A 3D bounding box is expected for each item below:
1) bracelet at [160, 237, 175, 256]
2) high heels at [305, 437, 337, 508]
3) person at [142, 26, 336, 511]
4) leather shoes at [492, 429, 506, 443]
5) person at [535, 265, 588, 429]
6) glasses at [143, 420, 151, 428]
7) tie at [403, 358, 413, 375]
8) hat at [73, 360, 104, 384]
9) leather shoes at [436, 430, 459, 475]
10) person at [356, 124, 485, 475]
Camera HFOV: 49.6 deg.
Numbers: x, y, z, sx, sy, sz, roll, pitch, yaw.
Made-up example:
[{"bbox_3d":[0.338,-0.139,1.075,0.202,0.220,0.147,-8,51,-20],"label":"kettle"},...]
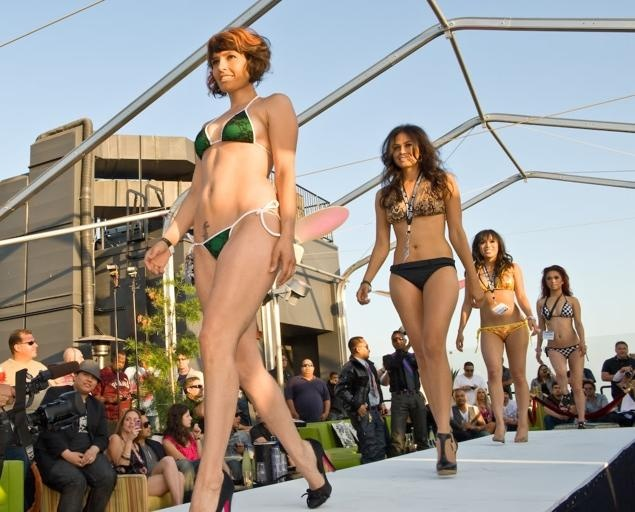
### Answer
[{"bbox_3d":[-0.916,-0.062,4.180,0.032,0.086,0.076,-36,28,-23],"label":"bracelet"},{"bbox_3d":[0.016,1.248,3.945,0.129,0.356,0.129,20,-37,-31],"label":"high heels"},{"bbox_3d":[-0.468,-0.019,3.965,0.851,2.753,0.456,-6,-11,0],"label":"person"},{"bbox_3d":[1.642,1.633,6.194,0.061,0.125,0.172,-4,-31,10],"label":"leather shoes"},{"bbox_3d":[3.006,1.103,8.443,0.584,2.008,1.111,-9,-11,17],"label":"person"},{"bbox_3d":[-1.980,1.950,7.950,0.078,0.077,0.025,2,-9,-3],"label":"glasses"},{"bbox_3d":[1.228,1.484,9.216,0.152,0.137,0.148,-15,-26,-40],"label":"tie"},{"bbox_3d":[-2.404,1.196,7.204,0.229,0.226,0.244,-1,-11,-22],"label":"hat"},{"bbox_3d":[0.840,1.282,4.487,0.139,0.256,0.262,-7,-11,9],"label":"leather shoes"},{"bbox_3d":[0.807,0.218,4.817,0.648,2.462,0.537,-8,-11,13],"label":"person"}]
